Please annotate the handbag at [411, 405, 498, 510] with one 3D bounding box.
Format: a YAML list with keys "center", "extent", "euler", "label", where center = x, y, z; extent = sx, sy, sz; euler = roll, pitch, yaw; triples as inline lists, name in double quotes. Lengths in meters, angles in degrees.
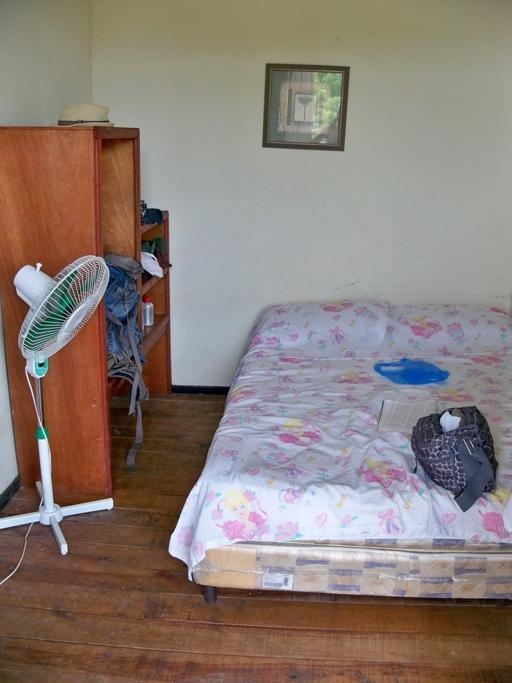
- center: [0.673, 0.367, 1.990]
  extent: [0.240, 0.140, 0.306]
  euler: [-19, 25, 15]
  label: "handbag"

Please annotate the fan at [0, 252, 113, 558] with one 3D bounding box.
- center: [-0.756, 0.208, 2.227]
  extent: [0.438, 1.131, 0.459]
  euler: [4, 21, 1]
  label: "fan"
